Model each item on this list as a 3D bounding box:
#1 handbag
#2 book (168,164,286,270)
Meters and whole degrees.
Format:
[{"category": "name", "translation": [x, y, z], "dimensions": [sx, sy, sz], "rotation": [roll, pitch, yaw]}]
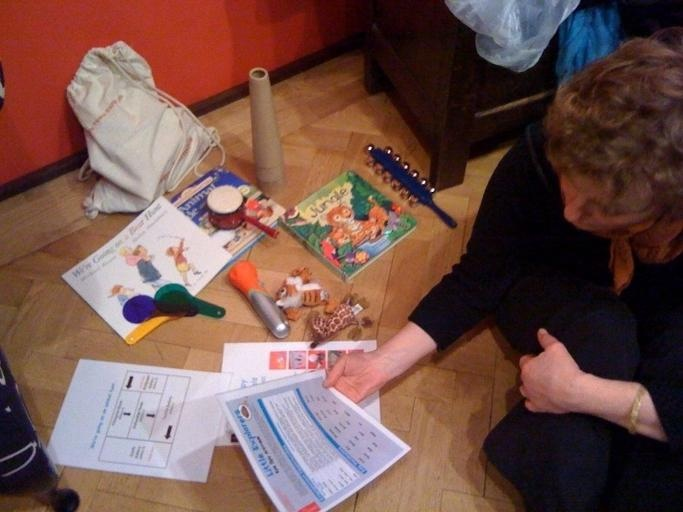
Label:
[{"category": "handbag", "translation": [-0.618, -0.344, 1.634], "dimensions": [0.323, 0.323, 0.459], "rotation": [32, 70, 17]}, {"category": "book", "translation": [-0.331, -0.133, 1.608], "dimensions": [0.284, 0.067, 0.269], "rotation": [41, 68, 16]}]
